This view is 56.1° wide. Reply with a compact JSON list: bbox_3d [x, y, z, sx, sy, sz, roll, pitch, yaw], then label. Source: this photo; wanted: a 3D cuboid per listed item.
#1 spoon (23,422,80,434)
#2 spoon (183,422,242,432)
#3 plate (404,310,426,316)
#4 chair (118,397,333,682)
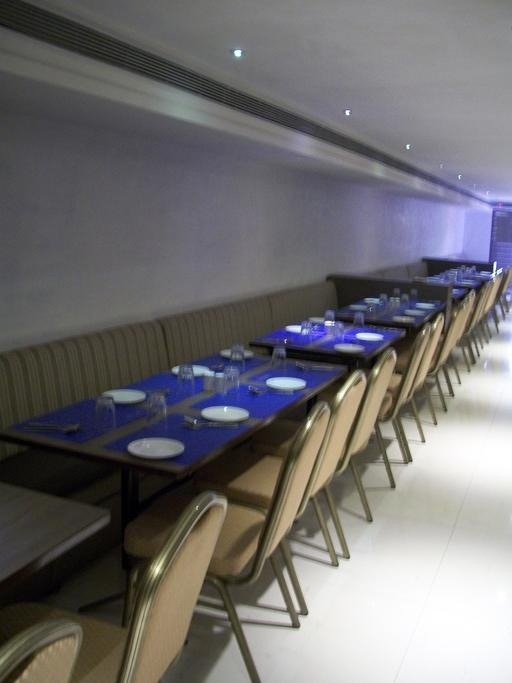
[{"bbox_3d":[-0.708,0.296,1.683,0.206,0.019,0.086,4,9,13],"label":"spoon"},{"bbox_3d":[-0.168,0.305,1.736,0.119,0.020,0.069,3,-1,13],"label":"spoon"},{"bbox_3d":[1.557,-0.283,4.730,0.191,0.039,0.217,5,9,17],"label":"plate"},{"bbox_3d":[-0.014,0.457,1.962,0.826,1.264,0.677,6,12,23],"label":"chair"}]
